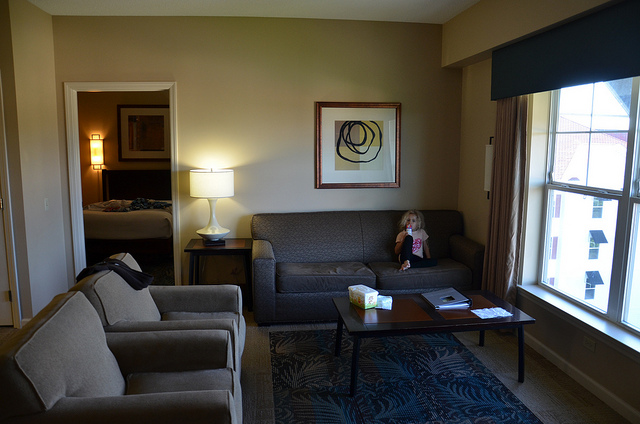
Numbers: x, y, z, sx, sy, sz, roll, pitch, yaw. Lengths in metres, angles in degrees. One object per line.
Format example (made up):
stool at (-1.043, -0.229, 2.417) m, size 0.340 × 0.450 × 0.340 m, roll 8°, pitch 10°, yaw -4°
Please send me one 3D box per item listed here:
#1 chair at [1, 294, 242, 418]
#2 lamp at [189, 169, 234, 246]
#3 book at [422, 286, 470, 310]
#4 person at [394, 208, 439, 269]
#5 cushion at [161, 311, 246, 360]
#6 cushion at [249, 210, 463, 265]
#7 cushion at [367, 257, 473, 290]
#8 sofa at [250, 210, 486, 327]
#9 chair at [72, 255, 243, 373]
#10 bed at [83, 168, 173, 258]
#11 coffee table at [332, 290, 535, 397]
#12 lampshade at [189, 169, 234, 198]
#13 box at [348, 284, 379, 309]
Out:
chair at (-1.318, 0.793, 3.370) m, size 1.187 × 1.009 × 1.027 m, roll -1°, pitch 5°, yaw -9°
lamp at (-1.206, -0.058, 5.506) m, size 0.534 × 0.849 × 0.513 m, roll 1°, pitch 3°, yaw 2°
book at (1.172, 0.820, 4.351) m, size 0.337 × 0.088 × 0.354 m, roll -3°, pitch 10°, yaw -13°
person at (1.080, 0.322, 5.419) m, size 0.520 × 0.697 × 0.660 m, roll 0°, pitch -8°, yaw 10°
cushion at (-0.969, 1.083, 4.135) m, size 0.786 × 0.376 × 0.741 m, roll 3°, pitch 8°, yaw -6°
cushion at (0.296, 0.292, 5.600) m, size 2.418 × 0.617 × 0.701 m, roll 3°, pitch 8°, yaw -7°
cushion at (1.097, 0.722, 5.415) m, size 1.137 × 0.217 × 0.588 m, roll -2°, pitch 12°, yaw -9°
sofa at (0.534, 0.602, 5.540) m, size 2.716 × 1.050 × 1.015 m, roll -1°, pitch 14°, yaw -10°
chair at (-1.269, 0.758, 3.949) m, size 1.171 × 1.002 × 0.980 m, roll -2°, pitch 8°, yaw -11°
bed at (-3.188, -0.013, 7.905) m, size 1.541 × 1.330 × 2.110 m, roll 0°, pitch 4°, yaw -9°
coffee table at (0.971, 1.183, 4.270) m, size 1.607 × 0.664 × 0.638 m, roll -2°, pitch 10°, yaw -8°
lampshade at (-1.231, -0.317, 5.279) m, size 0.371 × 0.221 × 0.359 m, roll 0°, pitch 4°, yaw 2°
box at (0.393, 0.748, 4.313) m, size 0.178 × 0.127 × 0.271 m, roll 0°, pitch 2°, yaw -23°
